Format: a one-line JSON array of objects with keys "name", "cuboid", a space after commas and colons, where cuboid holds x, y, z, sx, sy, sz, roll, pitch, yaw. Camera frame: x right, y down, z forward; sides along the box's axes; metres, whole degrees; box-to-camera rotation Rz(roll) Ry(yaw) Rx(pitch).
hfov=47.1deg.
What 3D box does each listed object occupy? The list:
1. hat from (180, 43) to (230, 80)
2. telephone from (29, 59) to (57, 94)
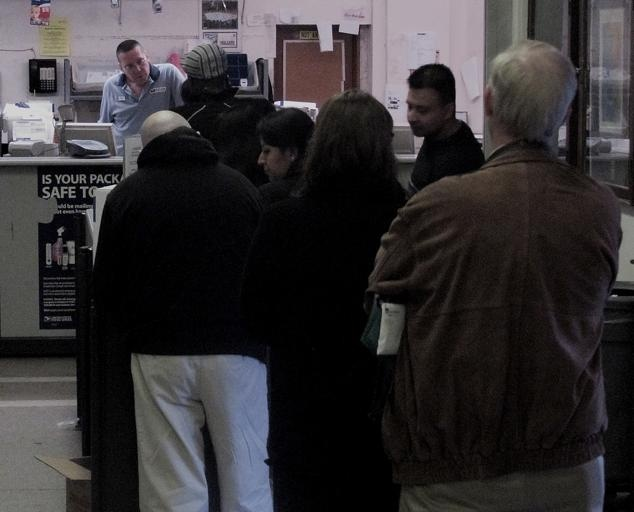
[{"name": "hat", "cuboid": [-0.589, -1.045, 3.854, 0.230, 0.205, 0.187, -16, 36, -17]}, {"name": "telephone", "cuboid": [-3.118, -2.026, 8.254, 0.313, 0.394, 0.117, -3, 7, -2]}]
